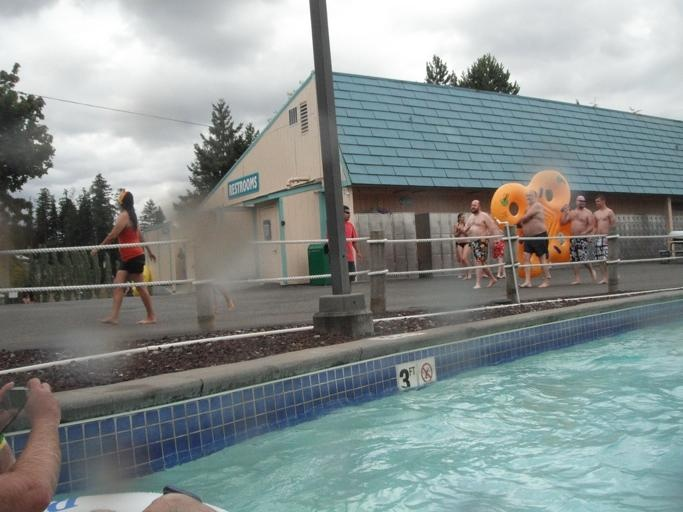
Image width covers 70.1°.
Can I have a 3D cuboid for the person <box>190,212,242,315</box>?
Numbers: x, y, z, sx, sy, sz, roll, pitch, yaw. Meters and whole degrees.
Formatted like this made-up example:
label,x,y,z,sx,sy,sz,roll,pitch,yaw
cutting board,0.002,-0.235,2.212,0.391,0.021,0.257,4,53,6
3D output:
label,x,y,z,sx,sy,sz,roll,pitch,yaw
person,-1.318,0.109,5.079,0.455,1.224,1.246,-3,8,-17
